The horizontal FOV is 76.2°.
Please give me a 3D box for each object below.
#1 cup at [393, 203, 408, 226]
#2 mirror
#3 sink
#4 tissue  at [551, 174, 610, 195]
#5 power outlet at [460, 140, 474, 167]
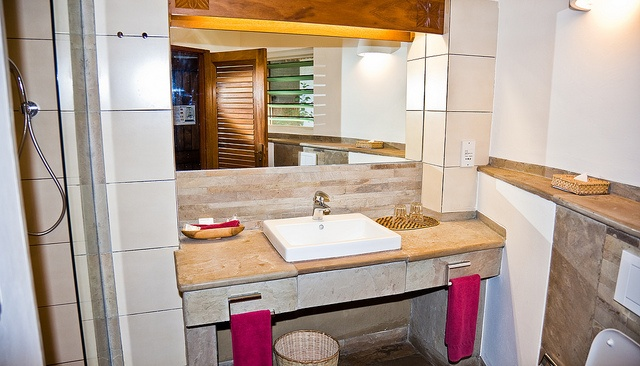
[{"bbox_3d":[0.632,0.247,3.218,0.161,0.181,0.145,2,1,2],"label":"cup"},{"bbox_3d":[-0.254,-0.627,2.956,1.320,0.659,0.104,-16,31,-40],"label":"mirror"},{"bbox_3d":[0.099,0.362,2.916,0.814,0.174,0.453,-5,14,-10],"label":"sink"},{"bbox_3d":[1.638,-0.013,2.608,0.159,0.055,0.180,1,12,-2],"label":"tissue "},{"bbox_3d":[1.146,-0.225,3.179,0.134,0.208,0.027,-8,16,-16],"label":"power outlet"}]
